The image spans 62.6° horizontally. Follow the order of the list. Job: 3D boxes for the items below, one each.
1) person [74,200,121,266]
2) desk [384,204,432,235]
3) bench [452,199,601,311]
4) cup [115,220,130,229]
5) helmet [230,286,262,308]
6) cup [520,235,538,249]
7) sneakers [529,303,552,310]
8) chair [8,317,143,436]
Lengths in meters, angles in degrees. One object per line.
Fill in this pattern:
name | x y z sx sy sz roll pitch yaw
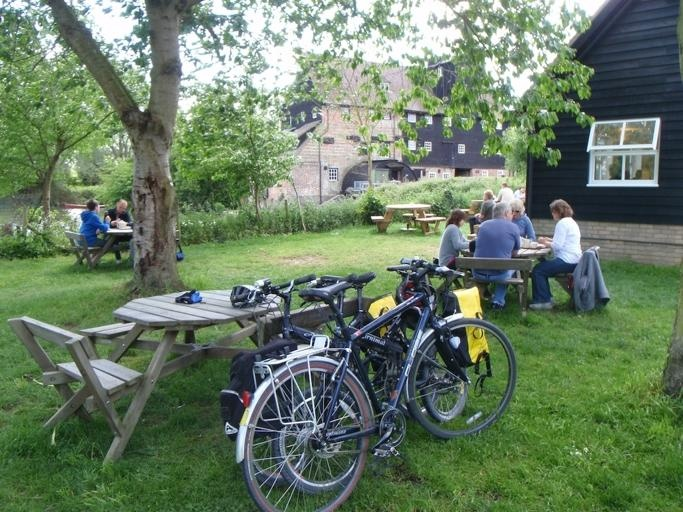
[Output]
person | -6.349 -0.730 14.852 0.943 1.611 0.689 -16 31 -37
desk | 2.465 -1.579 22.549 1.588 1.062 4.343 2 5 5
bench | 3.370 0.131 9.400 1.756 2.644 1.222 2 3 37
cup | -5.763 -0.817 14.686 0.254 0.296 0.324 2 0 17
helmet | -1.028 0.433 6.026 0.228 0.188 0.337 -4 2 27
cup | 3.436 -0.259 10.218 0.382 0.286 0.233 3 6 37
sneakers | 3.380 0.857 9.536 0.347 0.163 0.137 3 5 18
chair | -2.709 1.301 5.901 1.199 1.289 1.078 11 10 41
